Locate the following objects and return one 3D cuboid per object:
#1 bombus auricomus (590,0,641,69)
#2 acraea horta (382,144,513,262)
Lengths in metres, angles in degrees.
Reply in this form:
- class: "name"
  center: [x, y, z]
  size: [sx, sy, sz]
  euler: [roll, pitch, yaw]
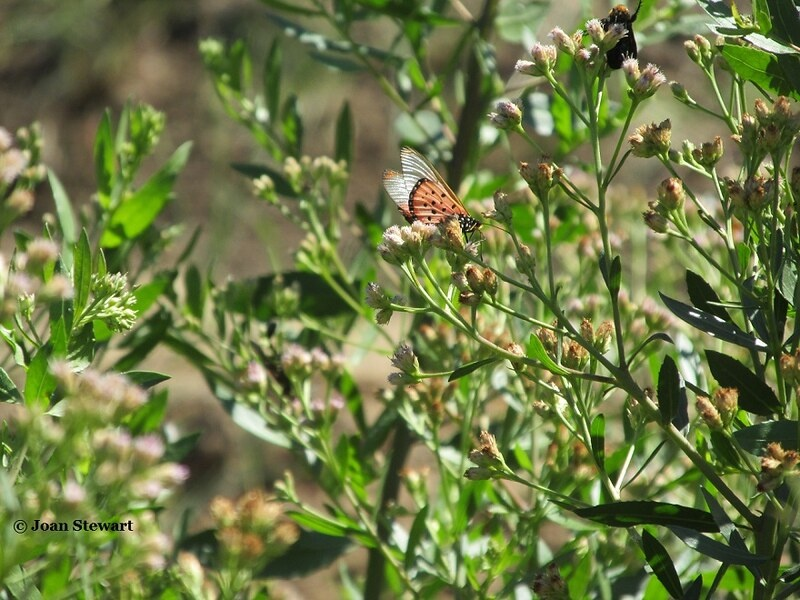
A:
- class: "bombus auricomus"
  center: [0.314, -0.383, 1.715]
  size: [0.066, 0.025, 0.096]
  euler: [0, 79, -6]
- class: "acraea horta"
  center: [0.070, -0.119, 1.714]
  size: [0.215, 0.102, 0.152]
  euler: [15, 25, 15]
